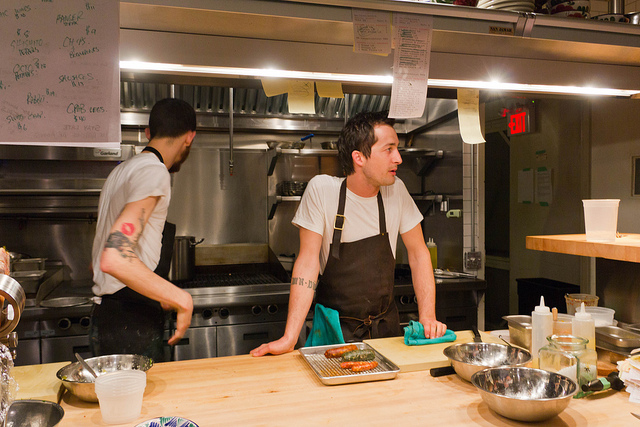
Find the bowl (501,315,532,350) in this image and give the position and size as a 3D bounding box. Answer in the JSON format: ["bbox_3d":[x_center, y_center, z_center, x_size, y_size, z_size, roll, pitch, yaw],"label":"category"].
[{"bbox_3d":[1.133,0.683,2.810,0.169,0.080,0.122,-2,6,-12],"label":"bowl"}]

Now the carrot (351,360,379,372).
[{"bbox_3d":[0.227,0.772,2.499,0.163,0.042,0.043,-1,20,-13],"label":"carrot"}]

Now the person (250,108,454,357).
[{"bbox_3d":[0.217,0.436,3.263,1.229,2.175,0.805,0,4,-3],"label":"person"}]

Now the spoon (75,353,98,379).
[{"bbox_3d":[-1.120,0.707,2.371,0.076,0.135,0.122,-8,14,-28],"label":"spoon"}]

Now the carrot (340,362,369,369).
[{"bbox_3d":[0.184,0.772,2.525,0.154,0.042,0.035,0,1,-14],"label":"carrot"}]

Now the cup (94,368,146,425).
[{"bbox_3d":[-0.870,0.797,2.197,0.225,0.166,0.205,1,-1,0],"label":"cup"}]
